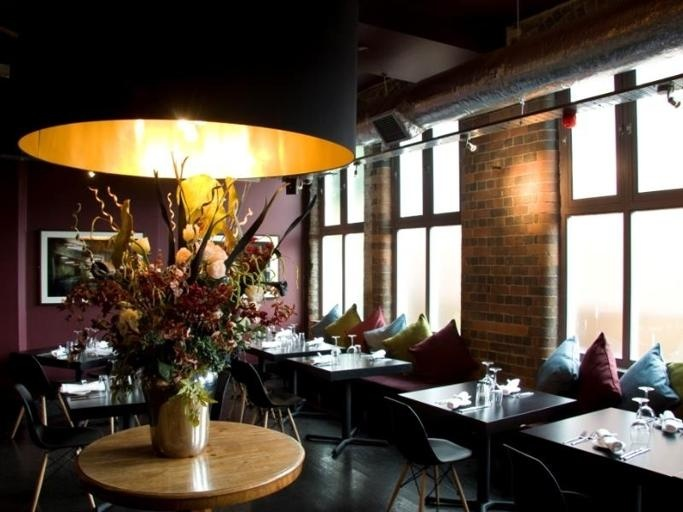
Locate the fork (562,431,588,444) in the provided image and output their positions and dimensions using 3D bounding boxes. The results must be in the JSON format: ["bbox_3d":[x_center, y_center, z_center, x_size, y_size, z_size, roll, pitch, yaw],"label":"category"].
[{"bbox_3d":[1.499,1.155,3.465,0.064,0.032,0.229,3,5,39],"label":"fork"}]

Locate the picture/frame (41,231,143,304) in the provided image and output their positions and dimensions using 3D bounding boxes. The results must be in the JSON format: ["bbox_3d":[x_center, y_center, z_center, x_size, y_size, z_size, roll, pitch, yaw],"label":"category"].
[{"bbox_3d":[-3.425,0.136,7.676,1.407,1.026,0.031,-1,-4,-8],"label":"picture/frame"}]

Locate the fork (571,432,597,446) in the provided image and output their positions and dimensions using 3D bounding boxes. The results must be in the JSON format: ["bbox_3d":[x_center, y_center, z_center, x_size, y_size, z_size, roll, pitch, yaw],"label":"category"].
[{"bbox_3d":[1.512,1.156,3.463,0.064,0.033,0.227,3,7,42],"label":"fork"}]

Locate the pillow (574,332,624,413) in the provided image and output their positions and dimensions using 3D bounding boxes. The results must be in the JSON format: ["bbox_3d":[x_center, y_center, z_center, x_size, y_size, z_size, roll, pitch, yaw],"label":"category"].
[{"bbox_3d":[2.214,1.018,4.700,0.216,0.607,0.540,10,-10,-1],"label":"pillow"}]

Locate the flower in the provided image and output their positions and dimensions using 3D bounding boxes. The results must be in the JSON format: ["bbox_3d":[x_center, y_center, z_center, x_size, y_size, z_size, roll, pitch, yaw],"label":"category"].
[{"bbox_3d":[-0.523,0.102,2.084,0.643,0.779,0.642,-8,17,1],"label":"flower"}]

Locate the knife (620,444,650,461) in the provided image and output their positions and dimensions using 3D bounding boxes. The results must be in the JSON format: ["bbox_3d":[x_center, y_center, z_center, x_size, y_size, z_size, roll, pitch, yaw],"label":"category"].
[{"bbox_3d":[1.710,1.152,3.205,0.289,0.031,0.073,4,-6,-34],"label":"knife"}]
